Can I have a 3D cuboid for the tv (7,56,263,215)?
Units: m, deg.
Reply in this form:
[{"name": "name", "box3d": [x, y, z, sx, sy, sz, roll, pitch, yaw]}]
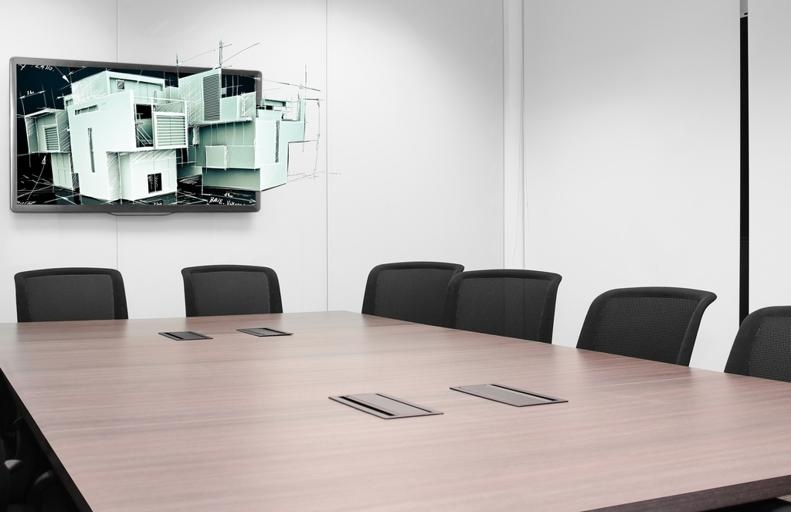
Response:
[{"name": "tv", "box3d": [-2.082, -0.940, 4.677, 2.299, 1.114, 0.089, 1, 6, 15]}]
